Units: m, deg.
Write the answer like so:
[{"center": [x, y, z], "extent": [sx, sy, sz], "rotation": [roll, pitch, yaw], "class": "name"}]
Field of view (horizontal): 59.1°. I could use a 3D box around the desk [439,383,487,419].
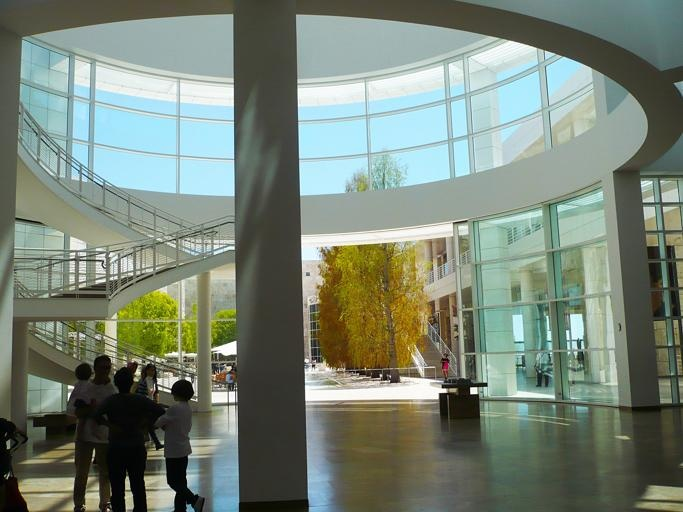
[{"center": [3.441, 3.931, 16.866], "extent": [1.167, 1.153, 1.895], "rotation": [-4, -4, 14], "class": "desk"}]
